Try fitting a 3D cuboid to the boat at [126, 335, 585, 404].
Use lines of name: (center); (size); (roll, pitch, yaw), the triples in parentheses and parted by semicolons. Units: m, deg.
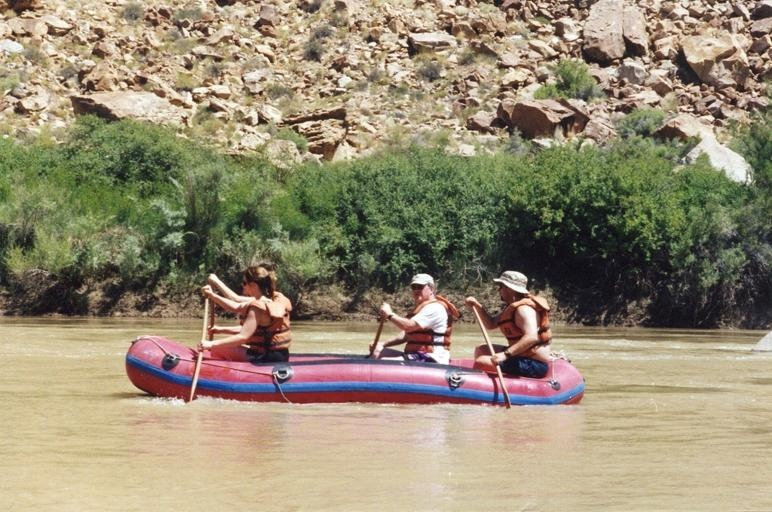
boat: (-1.256, 5.040, 68.669); (19.960, 3.065, 9.826); (2, -2, -7)
